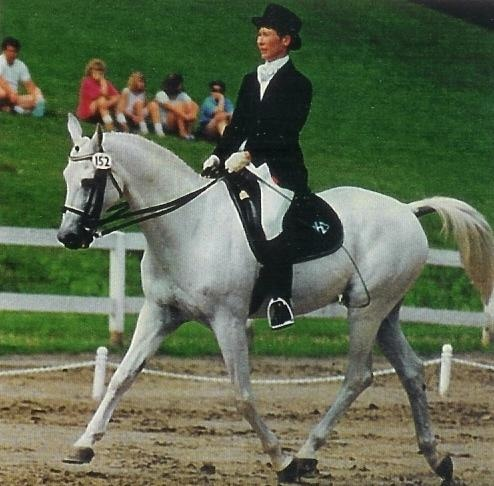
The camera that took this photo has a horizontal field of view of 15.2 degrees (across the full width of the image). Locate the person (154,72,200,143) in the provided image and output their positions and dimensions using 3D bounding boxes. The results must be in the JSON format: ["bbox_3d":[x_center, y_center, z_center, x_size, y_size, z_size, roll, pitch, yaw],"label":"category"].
[{"bbox_3d":[-0.968,-1.941,26.120,0.588,0.912,0.852,-7,8,-30],"label":"person"}]

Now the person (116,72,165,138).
[{"bbox_3d":[-1.492,-1.945,25.806,0.493,0.925,0.879,-5,5,-33],"label":"person"}]

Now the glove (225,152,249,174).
[{"bbox_3d":[-0.102,-0.889,20.278,0.278,0.238,0.172,0,3,-10],"label":"glove"}]

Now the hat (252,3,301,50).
[{"bbox_3d":[0.332,-2.391,20.427,0.558,0.498,0.256,0,3,-3],"label":"hat"}]
